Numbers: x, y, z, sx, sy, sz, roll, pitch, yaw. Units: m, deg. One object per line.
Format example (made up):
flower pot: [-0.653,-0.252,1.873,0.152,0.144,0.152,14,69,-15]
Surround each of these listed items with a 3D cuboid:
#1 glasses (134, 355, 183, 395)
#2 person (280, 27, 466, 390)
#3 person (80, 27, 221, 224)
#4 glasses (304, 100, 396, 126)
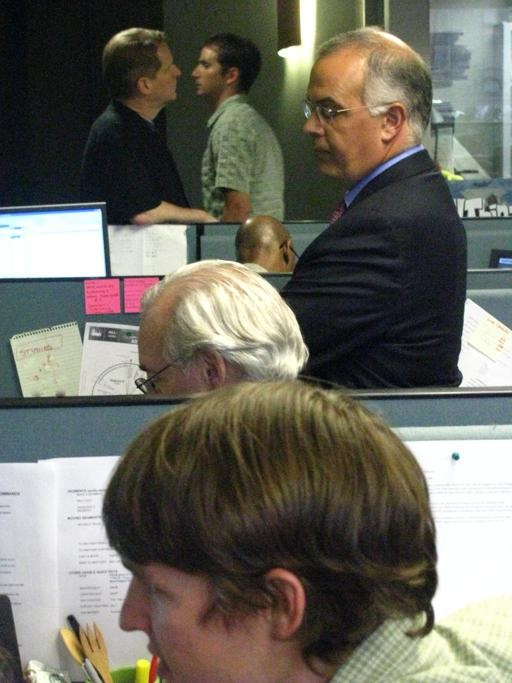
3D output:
glasses: [-0.148,0.054,0.992,0.066,0.018,0.061,-31,7,-14]
person: [0.217,-0.252,1.243,0.304,0.678,0.366,-1,6,14]
person: [-0.472,-0.901,2.948,0.459,0.849,0.432,-6,7,-34]
glasses: [0.173,-0.432,1.312,0.098,0.022,0.085,-1,10,-5]
